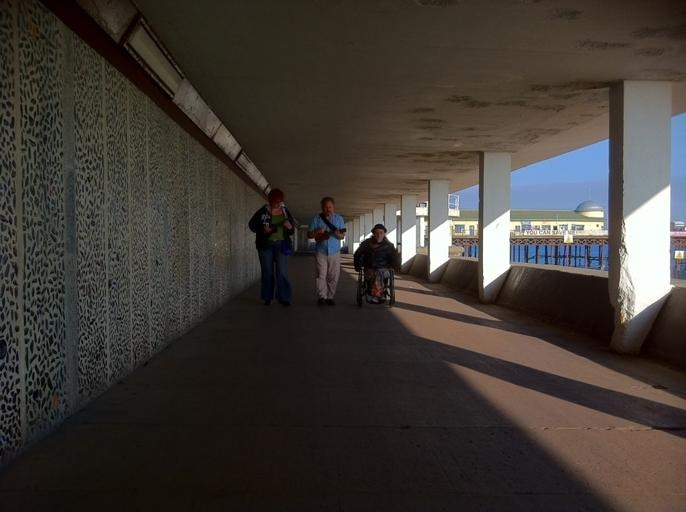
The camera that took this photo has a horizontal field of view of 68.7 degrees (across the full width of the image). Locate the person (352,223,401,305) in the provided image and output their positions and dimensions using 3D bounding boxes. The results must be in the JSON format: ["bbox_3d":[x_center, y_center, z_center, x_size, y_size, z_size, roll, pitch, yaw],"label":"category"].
[{"bbox_3d":[0.575,0.172,8.531,0.797,1.355,0.878,0,3,-24],"label":"person"}]

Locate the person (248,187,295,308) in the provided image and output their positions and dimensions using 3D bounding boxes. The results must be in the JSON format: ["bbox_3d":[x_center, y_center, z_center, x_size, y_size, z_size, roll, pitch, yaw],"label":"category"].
[{"bbox_3d":[-1.189,-0.089,8.410,0.679,1.952,0.542,0,7,-8],"label":"person"}]

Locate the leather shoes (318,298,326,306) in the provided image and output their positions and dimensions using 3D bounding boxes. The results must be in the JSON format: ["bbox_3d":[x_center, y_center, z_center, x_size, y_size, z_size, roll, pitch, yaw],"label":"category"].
[{"bbox_3d":[-0.362,0.799,8.605,0.082,0.112,0.114,5,-11,1],"label":"leather shoes"}]

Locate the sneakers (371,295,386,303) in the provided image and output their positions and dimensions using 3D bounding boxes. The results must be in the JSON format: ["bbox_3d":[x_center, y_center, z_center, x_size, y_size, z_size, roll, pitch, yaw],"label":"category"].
[{"bbox_3d":[0.608,0.773,8.672,0.103,0.153,0.332,2,0,-7],"label":"sneakers"}]

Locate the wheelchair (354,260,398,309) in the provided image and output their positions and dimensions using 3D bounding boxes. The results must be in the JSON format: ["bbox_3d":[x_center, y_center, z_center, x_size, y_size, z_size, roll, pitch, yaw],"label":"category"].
[{"bbox_3d":[0.579,0.408,8.695,0.443,0.929,0.761,2,-33,1],"label":"wheelchair"}]
